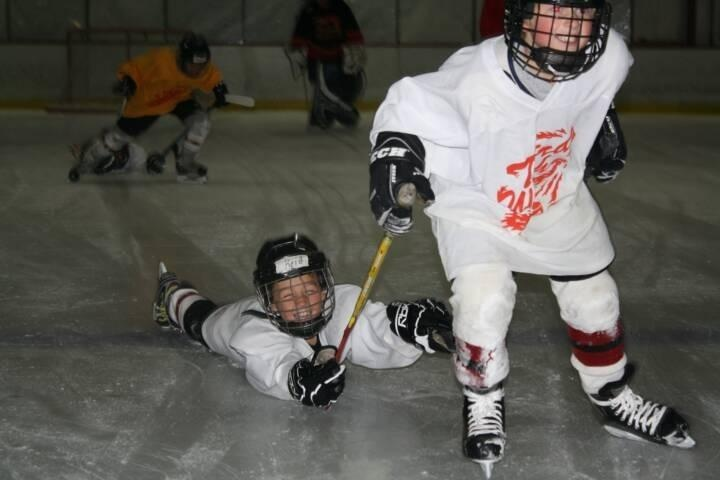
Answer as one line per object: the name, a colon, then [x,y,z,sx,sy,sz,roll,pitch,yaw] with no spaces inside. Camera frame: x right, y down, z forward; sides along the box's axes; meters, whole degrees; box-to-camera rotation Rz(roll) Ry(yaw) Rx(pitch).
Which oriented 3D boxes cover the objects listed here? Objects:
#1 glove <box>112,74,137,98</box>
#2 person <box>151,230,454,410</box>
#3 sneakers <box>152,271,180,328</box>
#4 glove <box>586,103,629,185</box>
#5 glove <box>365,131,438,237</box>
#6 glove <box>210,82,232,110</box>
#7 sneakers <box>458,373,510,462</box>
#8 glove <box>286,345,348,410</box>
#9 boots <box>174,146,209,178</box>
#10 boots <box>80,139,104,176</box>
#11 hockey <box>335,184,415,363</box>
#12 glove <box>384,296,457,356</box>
glove: [-2.109,-1.378,7.207,0.191,0.212,0.197,-11,21,-16]
person: [-0.463,0.354,4.193,1.712,0.644,0.894,15,29,37]
sneakers: [-1.106,0.311,4.617,0.124,0.171,0.359,6,29,-17]
glove: [1.169,-0.480,3.731,0.162,0.332,0.124,13,60,16]
glove: [0.199,-0.263,3.574,0.303,0.388,0.188,-2,8,29]
glove: [-1.322,-1.384,7.723,0.157,0.233,0.061,1,13,7]
sneakers: [0.562,0.787,3.548,0.134,0.162,0.401,-3,46,9]
glove: [-0.185,0.644,3.840,0.244,0.149,0.326,8,48,22]
boots: [-1.562,-0.693,7.370,0.359,0.335,0.197,3,10,-41]
boots: [-2.427,-0.754,7.268,0.152,0.308,0.108,19,-2,45]
hockey: [0.089,0.215,4.426,0.176,1.061,0.113,22,2,-22]
glove: [0.314,0.406,3.931,0.229,0.137,0.315,-22,35,-33]
